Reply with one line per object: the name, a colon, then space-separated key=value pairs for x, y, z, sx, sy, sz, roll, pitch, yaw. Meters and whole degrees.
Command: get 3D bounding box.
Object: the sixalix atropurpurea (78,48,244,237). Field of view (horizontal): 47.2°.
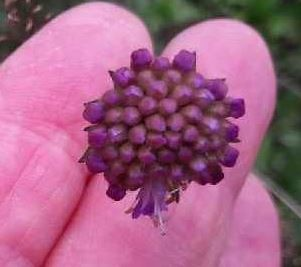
sixalix atropurpurea: x=0.037 y=-0.045 z=1.370 sx=0.658 sy=0.310 sz=0.472 roll=-5 pitch=64 yaw=0
